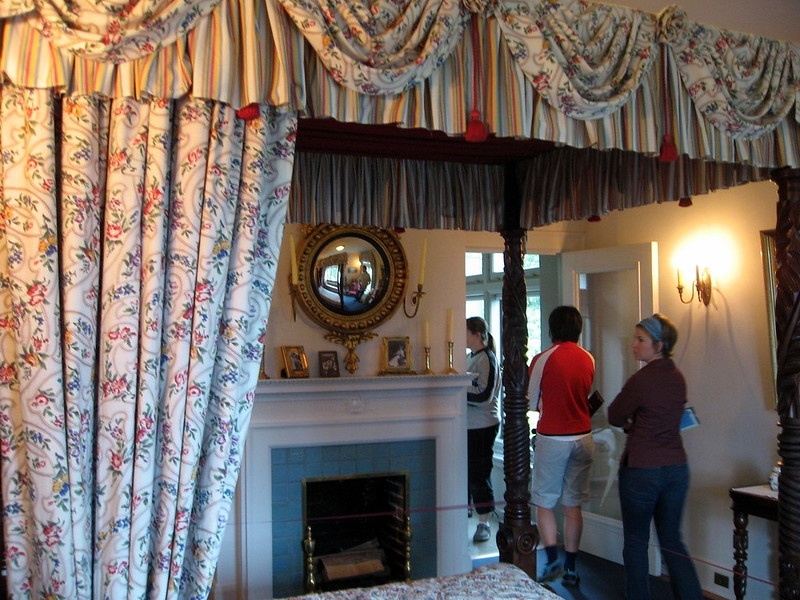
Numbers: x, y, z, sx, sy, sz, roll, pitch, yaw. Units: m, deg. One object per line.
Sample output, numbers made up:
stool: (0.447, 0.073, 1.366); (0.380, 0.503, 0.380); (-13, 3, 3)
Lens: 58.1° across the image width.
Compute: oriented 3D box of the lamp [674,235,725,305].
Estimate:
lamp: (2.018, -0.198, 4.811); (0.162, 0.561, 0.372); (5, -8, -21)

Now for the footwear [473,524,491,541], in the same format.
footwear: (0.512, 1.463, 4.511); (0.071, 0.089, 0.207); (-3, -14, 12)
